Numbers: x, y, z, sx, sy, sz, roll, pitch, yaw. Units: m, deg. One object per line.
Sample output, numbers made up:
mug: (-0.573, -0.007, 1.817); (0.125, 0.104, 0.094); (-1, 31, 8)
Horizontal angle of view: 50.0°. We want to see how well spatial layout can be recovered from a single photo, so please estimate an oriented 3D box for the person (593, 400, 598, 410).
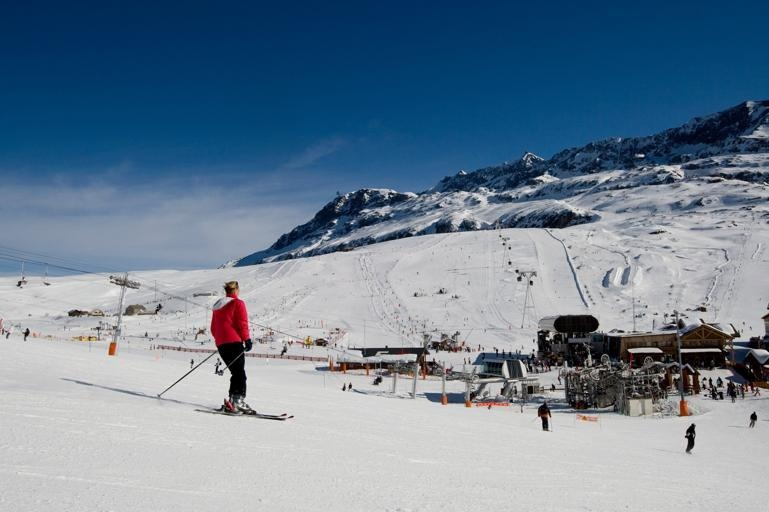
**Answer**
person: (25.779, 18.026, 100.336); (0.730, 0.883, 0.320); (2, -8, 8)
